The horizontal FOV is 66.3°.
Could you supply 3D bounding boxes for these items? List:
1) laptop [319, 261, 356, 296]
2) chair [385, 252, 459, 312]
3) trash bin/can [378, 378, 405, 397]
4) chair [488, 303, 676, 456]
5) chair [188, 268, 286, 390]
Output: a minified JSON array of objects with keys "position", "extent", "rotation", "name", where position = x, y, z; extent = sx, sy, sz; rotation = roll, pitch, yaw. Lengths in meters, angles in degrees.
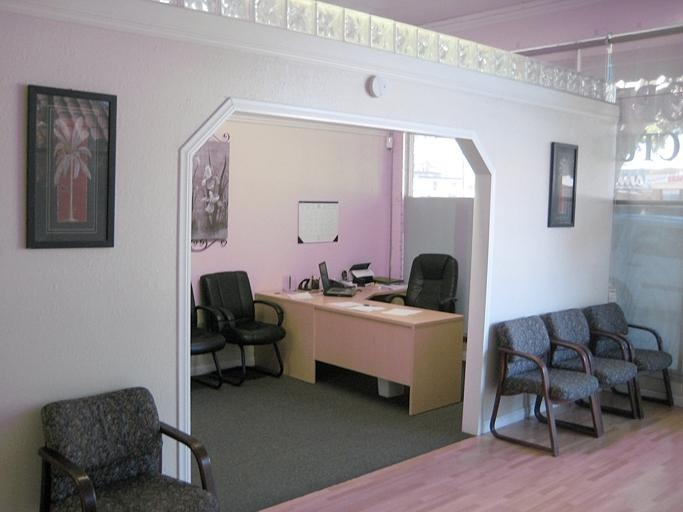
[{"position":[-0.075,0.174,6.664],"extent":[0.335,0.441,0.616],"rotation":[-2,1,4],"name":"laptop"},{"position":[1.229,0.291,7.013],"extent":[0.715,1.083,0.814],"rotation":[2,-7,35],"name":"chair"},{"position":[0.550,1.437,5.743],"extent":[0.217,0.243,0.233],"rotation":[5,6,41],"name":"trash bin/can"},{"position":[2.161,1.127,5.042],"extent":[1.587,1.080,0.770],"rotation":[-4,8,-36],"name":"chair"},{"position":[-1.297,0.709,6.295],"extent":[1.220,1.781,1.125],"rotation":[-2,4,-41],"name":"chair"}]
